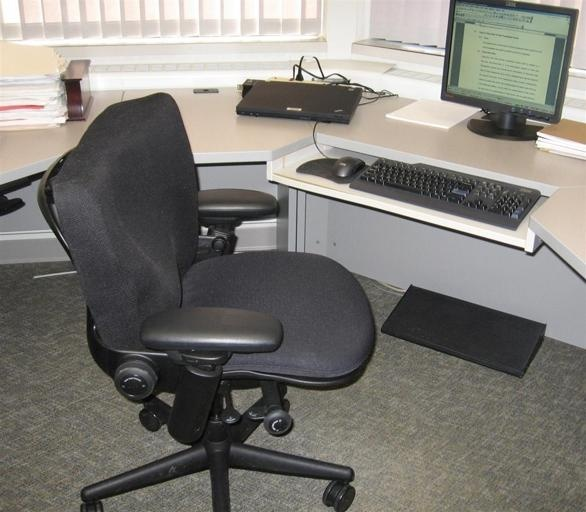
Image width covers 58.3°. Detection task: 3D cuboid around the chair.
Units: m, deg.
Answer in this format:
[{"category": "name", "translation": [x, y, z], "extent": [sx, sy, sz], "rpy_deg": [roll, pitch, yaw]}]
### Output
[{"category": "chair", "translation": [-0.176, 0.185, 1.381], "extent": [0.765, 1.118, 0.652], "rpy_deg": [5, 31, 10]}]

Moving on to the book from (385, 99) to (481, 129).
[{"category": "book", "translation": [0.546, -0.551, 2.023], "extent": [0.223, 0.008, 0.228], "rpy_deg": [16, 37, 29]}]
